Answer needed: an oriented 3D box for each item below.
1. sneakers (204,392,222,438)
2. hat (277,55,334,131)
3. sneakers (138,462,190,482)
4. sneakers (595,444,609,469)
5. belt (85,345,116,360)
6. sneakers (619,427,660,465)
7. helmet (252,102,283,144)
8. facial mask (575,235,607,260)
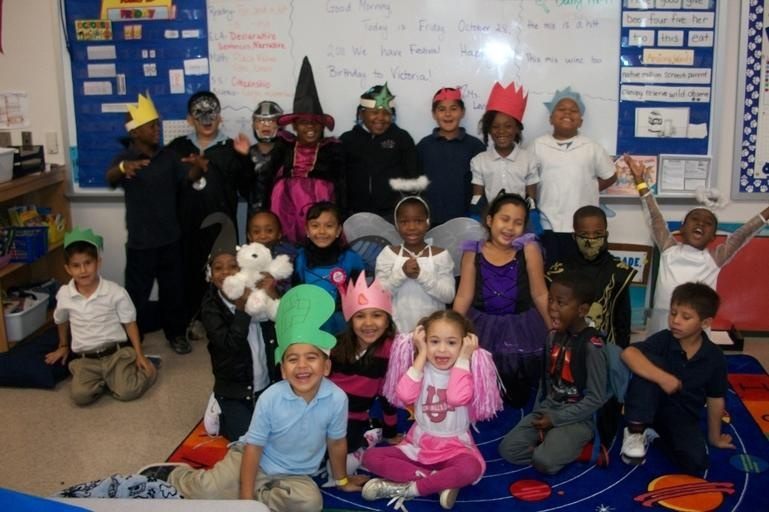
[{"bbox_3d":[-0.948,0.911,3.663,0.076,0.208,0.131,6,-2,21],"label":"sneakers"},{"bbox_3d":[-0.531,-1.110,4.484,0.430,0.487,0.434,8,10,40],"label":"hat"},{"bbox_3d":[-1.109,1.073,3.228,0.111,0.057,0.155,1,-7,-2],"label":"sneakers"},{"bbox_3d":[1.127,1.037,3.365,0.060,0.113,0.045,2,16,37],"label":"sneakers"},{"bbox_3d":[-1.761,0.613,4.085,0.110,0.029,0.107,-9,3,-11],"label":"belt"},{"bbox_3d":[1.314,0.984,3.396,0.148,0.077,0.198,-2,5,15],"label":"sneakers"},{"bbox_3d":[-0.813,-0.954,4.648,0.219,0.282,0.284,1,-3,-1],"label":"helmet"},{"bbox_3d":[1.249,-0.050,3.926,0.151,0.111,0.152,0,16,15],"label":"facial mask"}]
